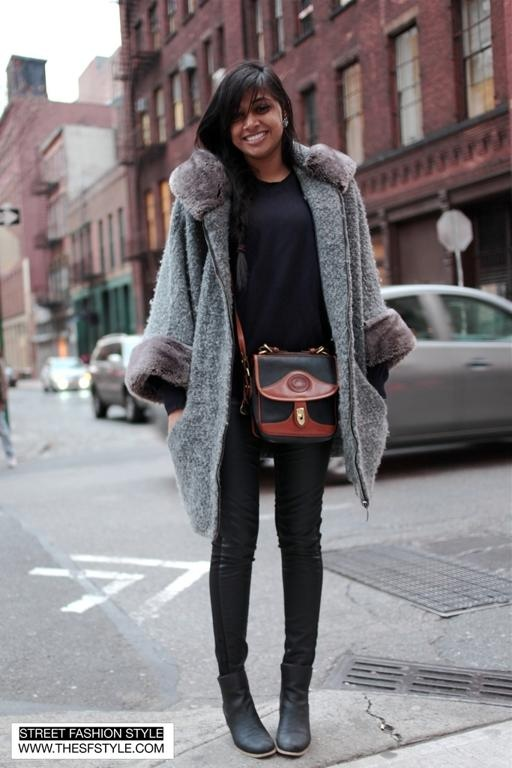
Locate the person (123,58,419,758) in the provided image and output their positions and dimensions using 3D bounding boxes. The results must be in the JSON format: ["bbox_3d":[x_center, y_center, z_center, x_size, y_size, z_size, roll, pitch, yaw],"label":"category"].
[{"bbox_3d":[0.053,0.014,2.039,0.745,1.703,0.421,-6,1,-9],"label":"person"}]

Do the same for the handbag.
[{"bbox_3d":[0.101,0.029,1.942,0.246,0.219,0.078,-6,0,-36],"label":"handbag"}]

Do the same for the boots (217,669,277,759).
[{"bbox_3d":[-0.020,0.781,1.915,0.084,0.199,0.172,-7,1,-18],"label":"boots"}]
